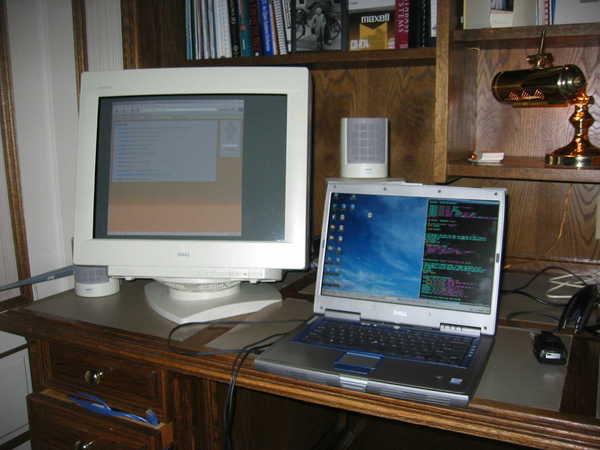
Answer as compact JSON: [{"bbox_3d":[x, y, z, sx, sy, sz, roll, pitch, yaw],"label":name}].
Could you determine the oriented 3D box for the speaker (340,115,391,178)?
[{"bbox_3d":[0.195,-0.231,1.572,0.180,0.192,0.173,0,2,-6],"label":"speaker"}]

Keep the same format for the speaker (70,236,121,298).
[{"bbox_3d":[-0.554,0.118,1.557,0.164,0.174,0.157,1,12,-2],"label":"speaker"}]

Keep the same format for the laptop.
[{"bbox_3d":[0.201,0.122,1.190,0.484,0.381,0.400,3,16,20],"label":"laptop"}]

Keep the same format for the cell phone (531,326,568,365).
[{"bbox_3d":[0.554,0.269,1.150,0.072,0.051,0.076,4,16,20],"label":"cell phone"}]
